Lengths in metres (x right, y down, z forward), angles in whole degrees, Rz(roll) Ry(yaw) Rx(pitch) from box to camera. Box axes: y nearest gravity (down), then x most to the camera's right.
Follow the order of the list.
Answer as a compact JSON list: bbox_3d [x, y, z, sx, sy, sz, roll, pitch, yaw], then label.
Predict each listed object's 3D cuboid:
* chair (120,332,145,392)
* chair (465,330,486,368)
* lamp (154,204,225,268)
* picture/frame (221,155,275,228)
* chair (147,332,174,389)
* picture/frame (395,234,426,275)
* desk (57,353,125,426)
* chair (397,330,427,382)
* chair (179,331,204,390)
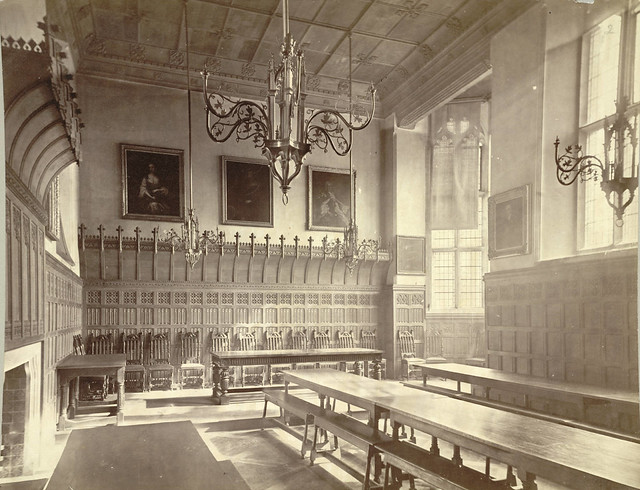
[{"bbox_3d":[-4.502,2.821,13.304,0.524,1.406,0.654,1,-7,-21],"label":"chair"},{"bbox_3d":[4.249,2.817,15.289,0.503,0.940,2.403,-4,-8,16],"label":"chair"},{"bbox_3d":[-2.553,-0.198,11.006,1.050,1.475,1.096,-1,-5,-24],"label":"lamp"},{"bbox_3d":[-2.019,-1.413,14.789,1.666,2.432,0.171,4,-10,-29],"label":"picture/frame"},{"bbox_3d":[-3.869,2.825,13.440,0.535,1.374,0.792,0,-7,-18],"label":"chair"},{"bbox_3d":[2.585,0.300,16.296,1.031,1.225,0.082,2,-4,-29],"label":"picture/frame"},{"bbox_3d":[-4.156,2.653,10.120,1.110,1.163,1.593,1,-8,-21],"label":"desk"},{"bbox_3d":[2.610,3.138,15.776,0.683,1.436,0.719,-1,-6,-11],"label":"chair"},{"bbox_3d":[-3.212,2.873,13.863,0.612,1.405,0.628,0,-6,-14],"label":"chair"}]
